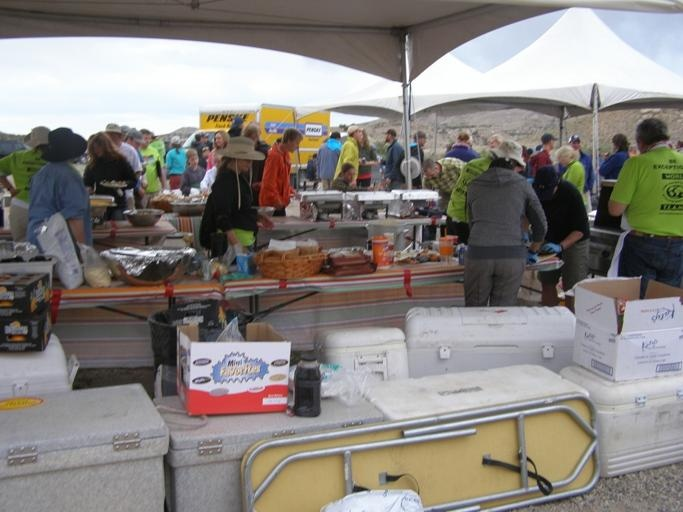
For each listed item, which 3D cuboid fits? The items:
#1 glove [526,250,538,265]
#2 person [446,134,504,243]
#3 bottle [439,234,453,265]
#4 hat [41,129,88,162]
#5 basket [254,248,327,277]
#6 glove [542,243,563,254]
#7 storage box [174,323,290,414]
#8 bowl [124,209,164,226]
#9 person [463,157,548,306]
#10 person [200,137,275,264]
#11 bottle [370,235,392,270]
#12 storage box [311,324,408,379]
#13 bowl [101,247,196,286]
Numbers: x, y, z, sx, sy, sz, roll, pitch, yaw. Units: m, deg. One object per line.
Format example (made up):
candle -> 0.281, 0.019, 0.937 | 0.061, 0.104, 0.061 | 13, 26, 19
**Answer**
glove -> 1.536, 0.025, 4.927 | 0.074, 0.101, 0.100 | 0, 0, -31
person -> 1.373, -0.618, 6.288 | 0.347, 1.298, 0.467 | 8, 48, 3
bottle -> 0.884, -0.074, 5.147 | 0.174, 0.274, 0.179 | 1, -4, 0
hat -> -2.024, -0.815, 4.435 | 0.299, 0.250, 0.202 | -6, 12, -22
basket -> -0.363, 0.058, 4.411 | 0.303, 0.113, 0.291 | -7, 8, -37
glove -> 1.751, -0.062, 5.084 | 0.093, 0.048, 0.136 | 1, 8, 4
storage box -> -0.462, 0.699, 3.147 | 0.603, 0.334, 0.616 | -9, -27, 19
bowl -> -2.012, -0.382, 6.148 | 0.368, 0.152, 0.352 | -1, 11, 0
person -> 1.261, -0.178, 4.654 | 0.596, 1.135, 0.364 | 1, 11, 12
person -> -0.909, -0.484, 5.497 | 0.569, 1.556, 0.706 | -1, 43, -5
bottle -> 0.324, -0.038, 4.867 | 0.140, 0.235, 0.128 | -2, 6, 0
storage box -> 0.159, 0.609, 3.872 | 0.433, 0.315, 0.350 | -2, 3, -16
bowl -> -1.393, 0.062, 4.417 | 0.665, 0.226, 0.331 | -5, 12, -18
